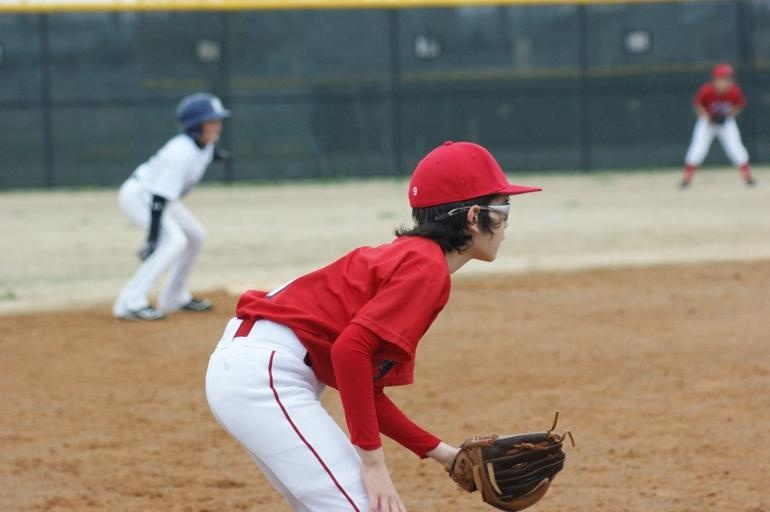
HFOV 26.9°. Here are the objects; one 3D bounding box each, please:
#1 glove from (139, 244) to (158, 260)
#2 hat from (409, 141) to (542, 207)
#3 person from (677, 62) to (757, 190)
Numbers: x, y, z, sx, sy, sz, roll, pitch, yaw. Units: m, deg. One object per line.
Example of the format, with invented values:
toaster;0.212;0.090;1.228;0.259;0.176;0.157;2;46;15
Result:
glove;-2.154;-0.030;14.394;0.187;0.152;0.071;3;9;30
hat;0.590;-0.593;11.787;0.795;0.333;0.498;-6;6;1
person;3.336;-1.279;15.755;0.736;1.140;0.764;8;22;24
